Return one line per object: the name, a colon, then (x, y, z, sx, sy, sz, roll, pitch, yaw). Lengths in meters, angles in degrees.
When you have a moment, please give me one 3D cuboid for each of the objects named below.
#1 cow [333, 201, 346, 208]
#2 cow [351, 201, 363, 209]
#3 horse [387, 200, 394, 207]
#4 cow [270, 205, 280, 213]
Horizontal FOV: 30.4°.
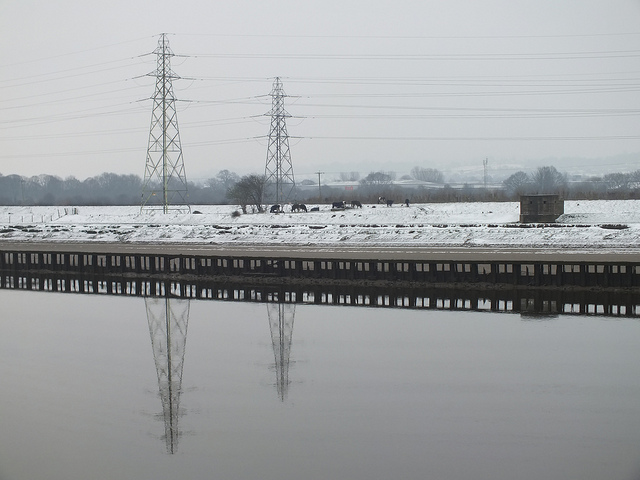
cow: (1.355, -2.701, 89.569, 0.821, 0.360, 1.476, -1, 8, 4)
cow: (2.707, -2.733, 89.739, 0.756, 0.467, 1.085, -2, 8, -3)
horse: (5.339, -2.878, 89.567, 0.368, 0.758, 1.465, -1, -3, -9)
cow: (-3.422, -2.385, 88.132, 0.793, 0.530, 1.930, -2, 8, -2)
